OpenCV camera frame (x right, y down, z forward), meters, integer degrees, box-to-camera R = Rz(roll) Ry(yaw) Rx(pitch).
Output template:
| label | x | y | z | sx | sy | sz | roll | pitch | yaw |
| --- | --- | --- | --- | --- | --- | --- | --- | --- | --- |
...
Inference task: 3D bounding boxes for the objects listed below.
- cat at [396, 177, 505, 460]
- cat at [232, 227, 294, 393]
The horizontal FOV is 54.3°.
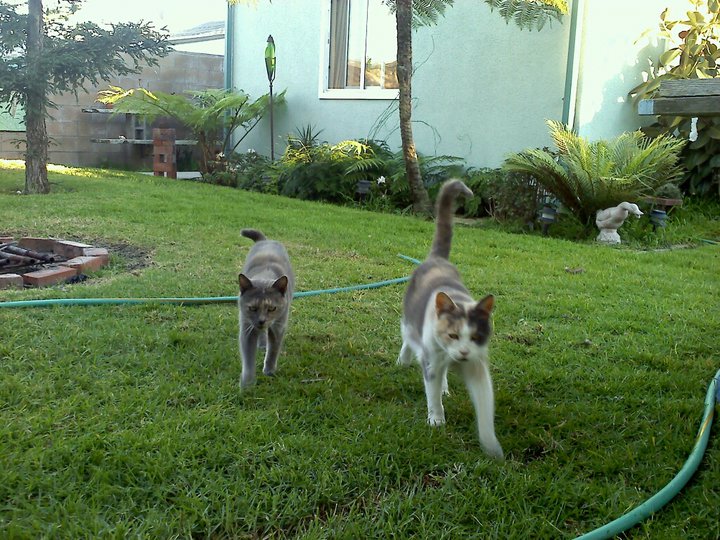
| label | x | y | z | sx | sy | sz | roll | pitch | yaw |
| --- | --- | --- | --- | --- | --- | --- | --- | --- | --- |
| cat | 0.648 | 0.259 | 5.097 | 0.670 | 1.774 | 1.188 | 2 | 8 | 0 |
| cat | -0.761 | 0.317 | 5.711 | 0.426 | 0.959 | 1.146 | 1 | 8 | -8 |
